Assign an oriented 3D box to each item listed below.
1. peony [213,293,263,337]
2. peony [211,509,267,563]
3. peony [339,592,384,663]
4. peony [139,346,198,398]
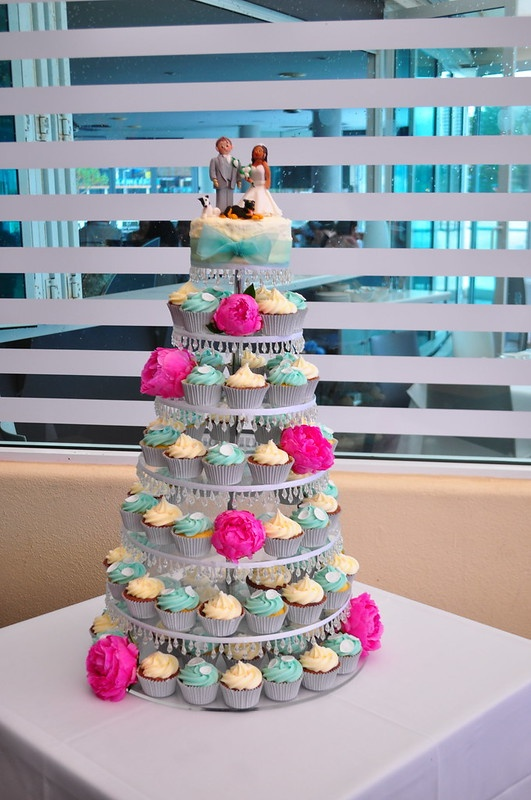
[{"bbox_3d":[-0.034,-0.115,0.857,0.070,0.058,0.070,0,2,-19],"label":"peony"},{"bbox_3d":[-0.034,0.168,0.809,0.065,0.057,0.067,-6,-9,-1],"label":"peony"},{"bbox_3d":[0.136,0.353,0.989,0.070,0.078,0.077,-5,48,4],"label":"peony"},{"bbox_3d":[-0.137,-0.038,0.898,0.075,0.072,0.074,0,2,-7],"label":"peony"}]
